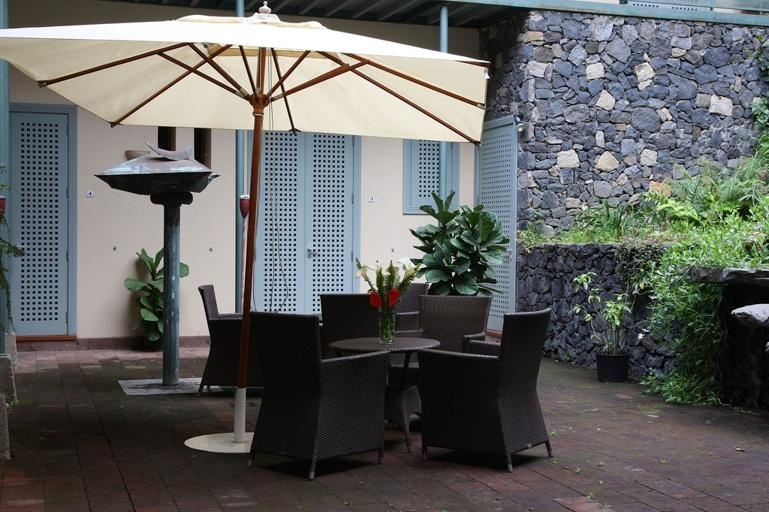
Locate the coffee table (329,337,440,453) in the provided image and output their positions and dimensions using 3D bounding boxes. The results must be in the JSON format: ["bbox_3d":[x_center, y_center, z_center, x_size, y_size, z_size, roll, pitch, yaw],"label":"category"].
[{"bbox_3d":[0.011,1.062,5.135,0.898,0.643,0.880,1,-3,-34],"label":"coffee table"}]

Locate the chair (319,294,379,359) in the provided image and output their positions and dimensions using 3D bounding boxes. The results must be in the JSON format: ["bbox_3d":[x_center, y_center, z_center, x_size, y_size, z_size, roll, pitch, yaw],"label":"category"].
[{"bbox_3d":[-0.329,0.694,6.166,0.622,0.867,0.516,0,1,1],"label":"chair"}]

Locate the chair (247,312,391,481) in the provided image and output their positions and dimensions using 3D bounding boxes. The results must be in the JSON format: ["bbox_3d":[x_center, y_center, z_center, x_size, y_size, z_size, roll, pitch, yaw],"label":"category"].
[{"bbox_3d":[-0.444,1.015,4.730,1.143,1.429,1.090,0,0,45],"label":"chair"}]

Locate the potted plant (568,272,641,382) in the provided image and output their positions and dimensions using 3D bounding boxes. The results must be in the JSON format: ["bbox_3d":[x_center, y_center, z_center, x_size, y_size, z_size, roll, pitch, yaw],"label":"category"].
[{"bbox_3d":[2.716,0.849,7.728,0.566,1.283,1.220,0,1,-9],"label":"potted plant"}]

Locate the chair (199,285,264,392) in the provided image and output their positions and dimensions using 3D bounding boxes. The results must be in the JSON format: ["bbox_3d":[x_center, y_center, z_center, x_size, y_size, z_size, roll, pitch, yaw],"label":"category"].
[{"bbox_3d":[-1.644,0.876,6.726,0.781,1.016,0.785,2,-1,-2],"label":"chair"}]

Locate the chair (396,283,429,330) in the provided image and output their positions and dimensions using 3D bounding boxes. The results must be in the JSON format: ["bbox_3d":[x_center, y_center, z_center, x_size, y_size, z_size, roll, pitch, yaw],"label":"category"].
[{"bbox_3d":[0.298,0.592,7.105,0.408,0.553,0.458,-3,-5,44],"label":"chair"}]

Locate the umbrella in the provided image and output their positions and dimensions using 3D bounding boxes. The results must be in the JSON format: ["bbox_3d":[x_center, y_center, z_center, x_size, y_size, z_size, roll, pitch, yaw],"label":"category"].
[{"bbox_3d":[-0.993,-0.220,4.959,3.380,3.473,2.059,0,1,-8],"label":"umbrella"}]

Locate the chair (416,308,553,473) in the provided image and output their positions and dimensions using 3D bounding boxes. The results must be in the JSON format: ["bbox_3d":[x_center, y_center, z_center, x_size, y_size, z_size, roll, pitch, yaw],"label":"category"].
[{"bbox_3d":[0.837,0.967,5.167,1.109,1.485,1.121,1,-1,32],"label":"chair"}]

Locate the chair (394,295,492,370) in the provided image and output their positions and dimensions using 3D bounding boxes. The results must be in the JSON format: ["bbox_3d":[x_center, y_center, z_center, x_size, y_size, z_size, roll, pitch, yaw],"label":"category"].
[{"bbox_3d":[0.717,0.724,6.068,0.734,0.993,0.749,-1,-5,29],"label":"chair"}]

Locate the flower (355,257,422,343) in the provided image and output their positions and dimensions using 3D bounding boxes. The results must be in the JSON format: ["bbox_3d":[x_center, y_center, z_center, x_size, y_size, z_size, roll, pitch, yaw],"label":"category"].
[{"bbox_3d":[0.005,0.402,5.264,0.589,0.670,0.563,3,4,23],"label":"flower"}]
